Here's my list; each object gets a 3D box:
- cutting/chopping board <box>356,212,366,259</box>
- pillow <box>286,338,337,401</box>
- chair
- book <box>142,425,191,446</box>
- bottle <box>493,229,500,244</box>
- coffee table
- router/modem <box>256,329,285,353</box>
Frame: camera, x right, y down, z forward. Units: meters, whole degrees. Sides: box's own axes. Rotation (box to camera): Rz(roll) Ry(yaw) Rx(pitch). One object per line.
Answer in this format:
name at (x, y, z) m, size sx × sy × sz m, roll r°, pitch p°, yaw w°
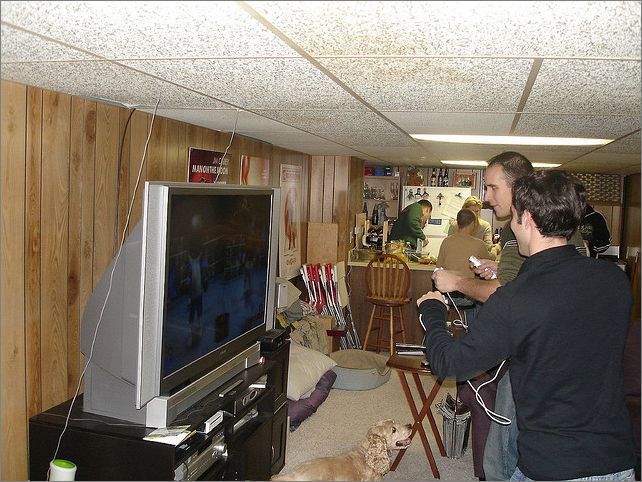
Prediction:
cutting/chopping board at (0.540, -0.062, 6.600) m, size 0.076 × 0.699 × 0.573 m, roll 2°, pitch 5°, yaw 18°
pillow at (-0.136, 1.140, 4.261) m, size 0.470 × 0.143 × 0.480 m, roll 19°, pitch 26°, yaw 14°
chair at (0.793, 0.773, 5.831) m, size 0.568 × 1.259 × 0.865 m, roll 2°, pitch 5°, yaw 7°
book at (-0.668, 0.850, 2.129) m, size 0.186 × 0.029 × 0.152 m, roll 3°, pitch 5°, yaw 12°
bottle at (2.983, -0.060, 8.191) m, size 0.081 × 0.255 × 0.176 m, roll 6°, pitch 1°, yaw -5°
coffee table at (0.735, 1.238, 3.696) m, size 0.694 × 0.833 × 0.701 m, roll -3°, pitch -2°, yaw 16°
router/modem at (-0.322, 0.623, 3.190) m, size 0.102 × 0.093 × 0.190 m, roll 1°, pitch 3°, yaw 20°
